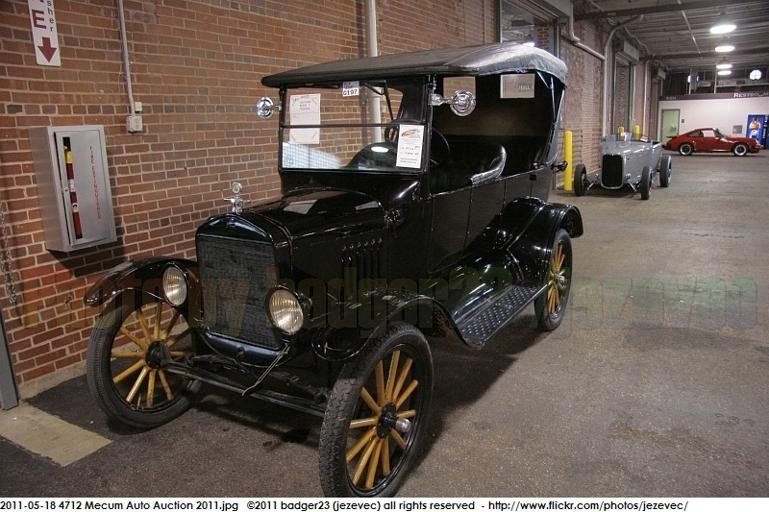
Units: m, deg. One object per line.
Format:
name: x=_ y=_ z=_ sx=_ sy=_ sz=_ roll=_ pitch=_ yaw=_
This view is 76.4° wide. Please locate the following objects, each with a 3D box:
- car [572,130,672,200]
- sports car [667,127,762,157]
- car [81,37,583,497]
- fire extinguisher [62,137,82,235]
car: x=6.058 y=-2.266 z=12.017 sx=1.425 sy=1.045 sz=2.920 roll=7 pitch=15 yaw=31
sports car: x=15.154 y=-4.971 z=22.545 sx=3.660 sy=1.067 sz=1.825 roll=6 pitch=20 yaw=24
car: x=-0.050 y=-0.299 z=5.020 sx=2.608 sy=3.086 sz=5.032 roll=7 pitch=13 yaw=34
fire extinguisher: x=-2.540 y=-0.541 z=3.958 sx=0.073 sy=0.814 sz=0.152 roll=-8 pitch=17 yaw=-24
